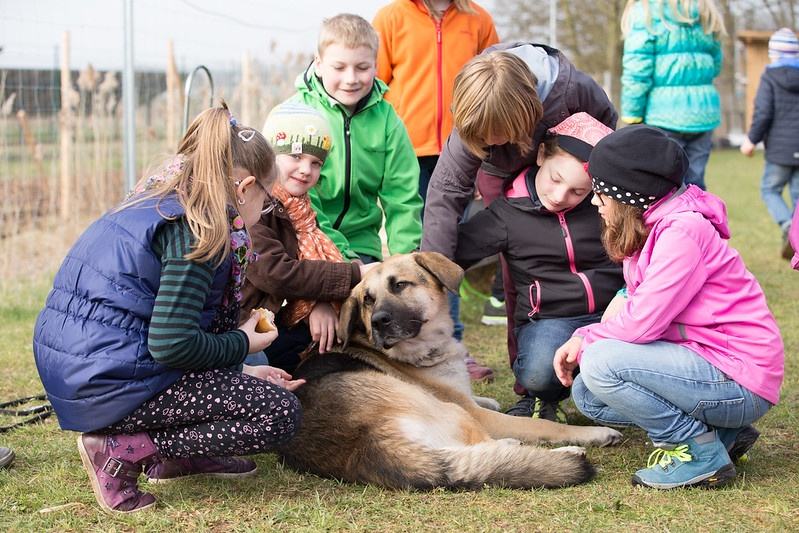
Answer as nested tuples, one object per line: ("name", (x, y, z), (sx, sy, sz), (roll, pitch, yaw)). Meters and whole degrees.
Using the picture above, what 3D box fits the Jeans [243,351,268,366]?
("Jeans", (-1.083, 0.694, 6.414), (0.165, 0.063, 0.165), (-2, -1, -4))

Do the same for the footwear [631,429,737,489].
("footwear", (1.843, 1.268, 5.603), (0.779, 0.512, 0.287), (0, -6, 5))

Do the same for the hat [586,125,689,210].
("hat", (1.562, -0.664, 5.623), (0.714, 0.574, 0.642), (14, 12, 33))

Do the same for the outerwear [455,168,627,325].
("outerwear", (1.090, -0.192, 6.284), (1.250, 0.732, 0.402), (-14, 3, -12))

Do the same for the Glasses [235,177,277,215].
("Glasses", (-0.927, -0.461, 5.420), (0.237, 0.112, 0.284), (-26, -9, 31))

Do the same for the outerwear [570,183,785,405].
("outerwear", (1.871, 0.172, 5.684), (1.367, 1.459, 1.086), (5, 8, 34))

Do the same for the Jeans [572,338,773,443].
("Jeans", (1.726, 0.739, 5.533), (0.952, 0.440, 0.714), (-5, -4, 14))

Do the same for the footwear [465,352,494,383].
("footwear", (0.682, 0.869, 7.124), (0.354, 0.246, 0.133), (-3, -2, 33))

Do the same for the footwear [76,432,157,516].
("footwear", (-1.713, 1.292, 5.286), (0.620, 0.444, 0.203), (30, -5, 43))

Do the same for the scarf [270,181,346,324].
("scarf", (-0.707, -0.097, 6.296), (0.586, 0.366, 0.952), (12, -34, -2))

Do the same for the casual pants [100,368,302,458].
("casual pants", (-1.176, 0.915, 5.263), (1.005, 0.445, 0.556), (3, 14, -13))

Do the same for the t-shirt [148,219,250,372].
("t-shirt", (-1.227, 0.268, 5.557), (0.642, 0.978, 1.057), (2, -8, 5))

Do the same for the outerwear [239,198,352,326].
("outerwear", (-0.581, 0.028, 6.387), (1.168, 1.103, 0.995), (0, 5, -2))

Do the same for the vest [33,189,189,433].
("vest", (-1.883, 0.230, 5.848), (1.181, 1.913, 1.684), (1, -14, -24))

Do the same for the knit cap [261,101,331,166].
("knit cap", (-0.786, -1.045, 6.346), (0.544, 0.423, 0.423), (8, 10, 42))

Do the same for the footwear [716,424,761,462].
("footwear", (2.236, 1.138, 5.553), (0.197, 0.149, 0.408), (12, -34, 6))
